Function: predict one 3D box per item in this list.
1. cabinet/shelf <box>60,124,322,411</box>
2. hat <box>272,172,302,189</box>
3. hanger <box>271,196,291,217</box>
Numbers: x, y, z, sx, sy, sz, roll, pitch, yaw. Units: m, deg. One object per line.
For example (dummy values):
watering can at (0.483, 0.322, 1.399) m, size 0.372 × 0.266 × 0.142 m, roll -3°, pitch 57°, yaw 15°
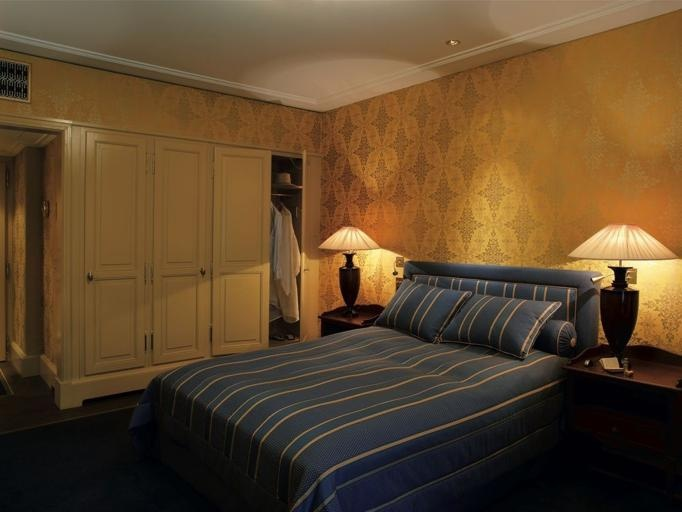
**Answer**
cabinet/shelf at (-1.505, 0.105, 5.217) m, size 0.848 × 2.519 × 2.795 m, roll 5°, pitch 5°, yaw 42°
hat at (-0.630, -0.864, 5.620) m, size 0.306 × 0.102 × 0.219 m, roll -1°, pitch 5°, yaw 18°
hanger at (-0.715, -0.582, 5.716) m, size 0.311 × 0.158 × 0.021 m, roll 4°, pitch -13°, yaw -33°
